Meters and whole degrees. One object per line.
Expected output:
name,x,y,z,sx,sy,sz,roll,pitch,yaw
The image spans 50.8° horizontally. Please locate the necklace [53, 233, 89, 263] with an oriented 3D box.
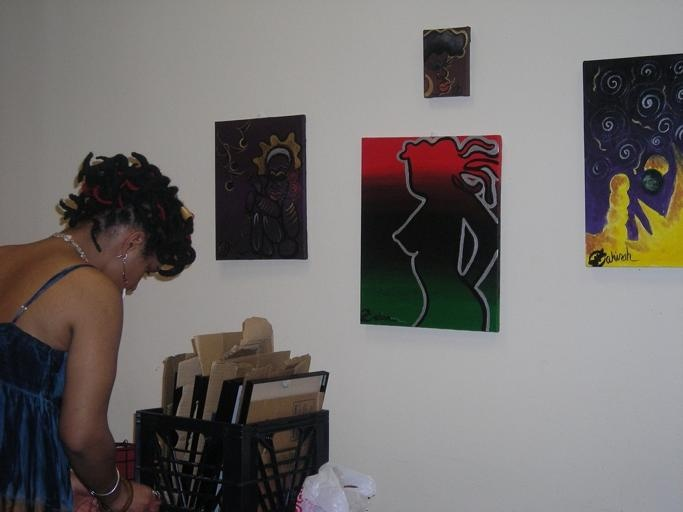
necklace,-0.676,-0.027,1.812,0.082,0.026,0.061,47,2,-11
